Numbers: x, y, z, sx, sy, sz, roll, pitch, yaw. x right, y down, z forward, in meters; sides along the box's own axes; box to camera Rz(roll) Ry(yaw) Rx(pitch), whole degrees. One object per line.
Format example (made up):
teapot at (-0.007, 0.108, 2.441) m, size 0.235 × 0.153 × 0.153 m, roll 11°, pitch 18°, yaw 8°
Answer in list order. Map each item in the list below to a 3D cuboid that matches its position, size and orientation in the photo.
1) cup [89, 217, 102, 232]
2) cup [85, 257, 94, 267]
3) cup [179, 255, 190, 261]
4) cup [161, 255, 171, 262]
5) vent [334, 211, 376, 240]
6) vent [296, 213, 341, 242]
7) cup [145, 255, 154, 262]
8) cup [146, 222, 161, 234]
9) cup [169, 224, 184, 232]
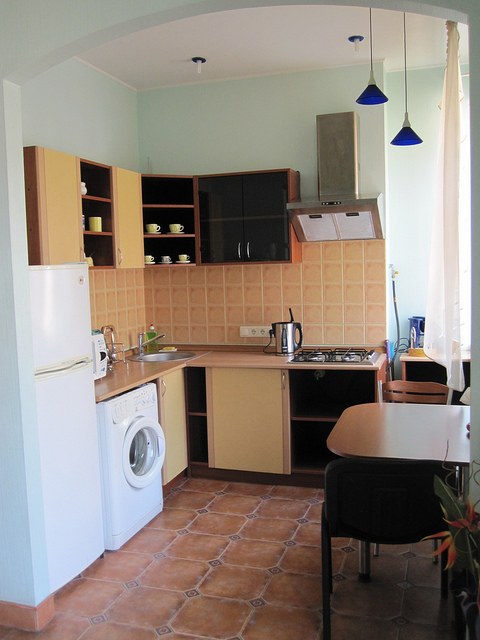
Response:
cup at (-0.878, -0.591, 3.368) m, size 0.084 × 0.098 × 0.085 m, roll 1°, pitch 11°, yaw 0°
cup at (-0.932, -0.357, 3.343) m, size 0.055 × 0.052 × 0.055 m, roll 1°, pitch 0°, yaw 0°
cup at (-0.417, -0.468, 4.108) m, size 0.050 × 0.045 × 0.091 m, roll -1°, pitch 3°, yaw 44°
cup at (-0.567, -0.464, 4.119) m, size 0.057 × 0.042 × 0.045 m, roll 1°, pitch 1°, yaw -1°
vent at (0.790, -0.642, 3.696) m, size 0.247 × 0.161 × 0.266 m, roll -2°, pitch 3°, yaw 18°
vent at (0.552, -0.642, 3.771) m, size 0.271 × 0.162 × 0.278 m, roll -3°, pitch 2°, yaw 12°
cup at (-0.682, -0.460, 4.069) m, size 0.059 × 0.043 × 0.038 m, roll 6°, pitch -10°, yaw -22°
cup at (-0.644, -0.684, 4.034) m, size 0.058 × 0.064 × 0.094 m, roll -4°, pitch -6°, yaw 25°
cup at (-0.476, -0.680, 4.039) m, size 0.081 × 0.051 × 0.056 m, roll 2°, pitch -1°, yaw -8°
